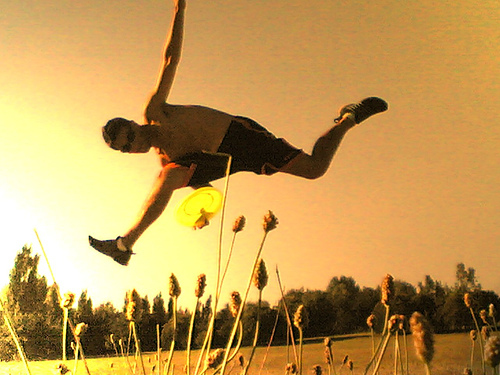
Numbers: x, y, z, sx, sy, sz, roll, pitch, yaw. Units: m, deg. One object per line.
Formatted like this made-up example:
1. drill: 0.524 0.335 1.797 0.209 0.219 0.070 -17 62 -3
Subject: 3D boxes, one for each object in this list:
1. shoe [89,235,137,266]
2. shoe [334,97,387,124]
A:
1. shoe: -2.726 1.263 16.569 0.972 0.545 0.202 21 -11 -11
2. shoe: 2.241 -1.541 16.844 1.024 0.580 0.212 0 -23 6
